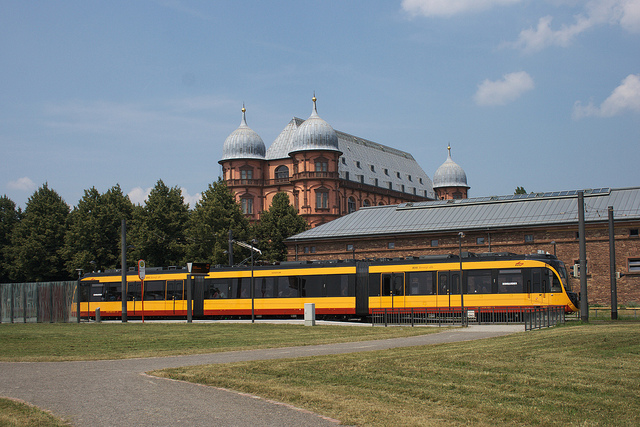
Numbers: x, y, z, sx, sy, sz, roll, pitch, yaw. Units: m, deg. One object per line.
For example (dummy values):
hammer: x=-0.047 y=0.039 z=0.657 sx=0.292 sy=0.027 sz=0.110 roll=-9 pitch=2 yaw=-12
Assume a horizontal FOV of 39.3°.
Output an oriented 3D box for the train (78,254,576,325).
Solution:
train: x=0.554 y=5.505 z=62.205 sx=30.759 sy=4.089 sz=3.805 roll=-3 pitch=-6 yaw=24
